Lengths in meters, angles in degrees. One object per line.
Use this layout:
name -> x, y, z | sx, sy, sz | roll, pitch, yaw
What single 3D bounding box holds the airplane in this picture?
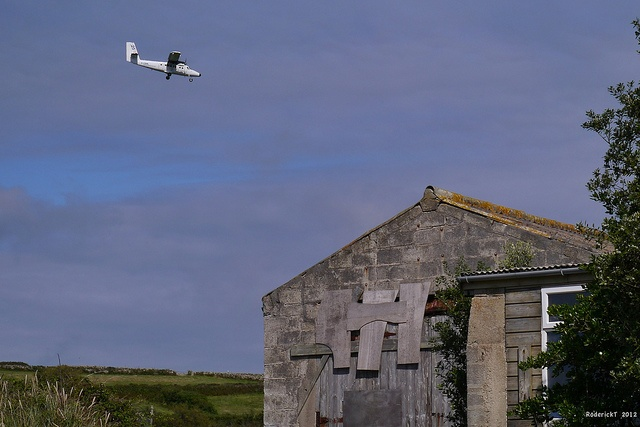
airplane -> -6.362, -6.441, 65.301 | 2.836, 1.176, 3.336 | 3, -10, 23
